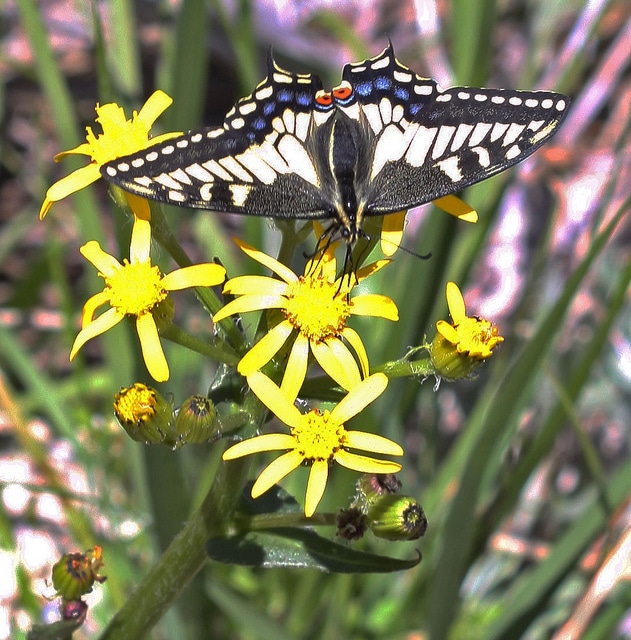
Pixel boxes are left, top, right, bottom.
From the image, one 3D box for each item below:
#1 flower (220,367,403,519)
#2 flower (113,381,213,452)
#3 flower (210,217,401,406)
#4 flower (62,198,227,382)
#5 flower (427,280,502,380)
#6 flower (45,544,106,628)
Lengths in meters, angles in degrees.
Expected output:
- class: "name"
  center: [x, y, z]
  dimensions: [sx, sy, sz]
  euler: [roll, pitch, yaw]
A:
- class: "flower"
  center: [-0.007, 0.235, 1.983]
  dimensions: [0.355, 0.188, 0.233]
  euler: [2, -75, -2]
- class: "flower"
  center: [-0.305, 0.211, 2.019]
  dimensions: [0.150, 0.089, 0.142]
  euler: [15, -101, 8]
- class: "flower"
  center: [0.011, 0.018, 2.069]
  dimensions: [0.347, 0.385, 0.116]
  euler: [-33, -115, -1]
- class: "flower"
  center: [-0.375, -0.046, 2.127]
  dimensions: [0.309, 0.081, 0.356]
  euler: [-34, -107, 8]
- class: "flower"
  center: [0.305, 0.054, 2.120]
  dimensions: [0.162, 0.089, 0.166]
  euler: [35, -79, -9]
- class: "flower"
  center: [-0.493, 0.541, 2.068]
  dimensions: [0.091, 0.089, 0.121]
  euler: [-4, -75, 0]
